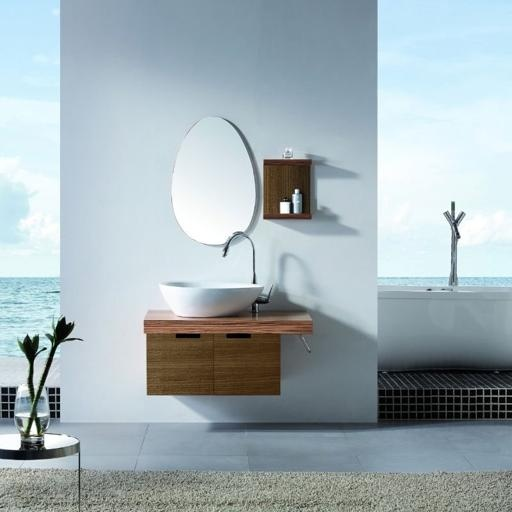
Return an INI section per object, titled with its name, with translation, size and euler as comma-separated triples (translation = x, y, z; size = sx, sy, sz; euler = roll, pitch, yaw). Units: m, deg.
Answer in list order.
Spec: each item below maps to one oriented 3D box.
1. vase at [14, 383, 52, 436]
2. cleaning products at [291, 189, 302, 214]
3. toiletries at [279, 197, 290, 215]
[vase]
translation = -0.885, 0.620, 2.297
size = 0.137, 0.203, 0.135
euler = -1, -2, 3
[cleaning products]
translation = 0.241, -0.325, 3.417
size = 0.057, 0.156, 0.050
euler = 0, 5, 1
[toiletries]
translation = 0.169, -0.300, 3.430
size = 0.071, 0.104, 0.055
euler = 1, 5, 5
